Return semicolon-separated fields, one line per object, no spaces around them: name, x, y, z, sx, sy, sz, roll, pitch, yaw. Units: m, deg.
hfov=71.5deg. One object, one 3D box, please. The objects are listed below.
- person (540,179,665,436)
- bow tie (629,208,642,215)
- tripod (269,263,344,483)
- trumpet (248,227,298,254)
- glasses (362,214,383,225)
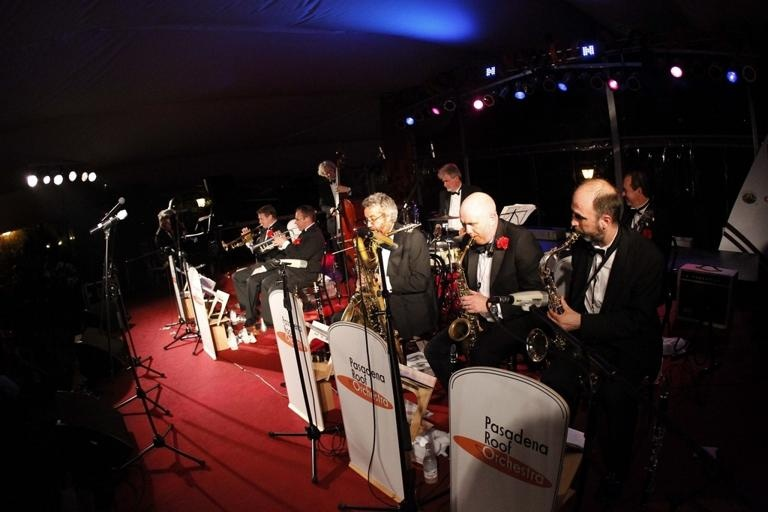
person;2.410;0.437;5.824;1.134;2.521;0.893;-1;11;27
bow tie;3.879;-0.669;8.232;0.120;0.109;0.153;18;31;26
tripod;-1.012;1.313;6.605;0.657;2.613;0.991;-13;12;-39
trumpet;-2.023;-0.286;9.903;0.877;0.261;0.219;-23;20;-26
glasses;-0.114;-0.513;7.353;0.172;0.061;0.184;-7;11;45
